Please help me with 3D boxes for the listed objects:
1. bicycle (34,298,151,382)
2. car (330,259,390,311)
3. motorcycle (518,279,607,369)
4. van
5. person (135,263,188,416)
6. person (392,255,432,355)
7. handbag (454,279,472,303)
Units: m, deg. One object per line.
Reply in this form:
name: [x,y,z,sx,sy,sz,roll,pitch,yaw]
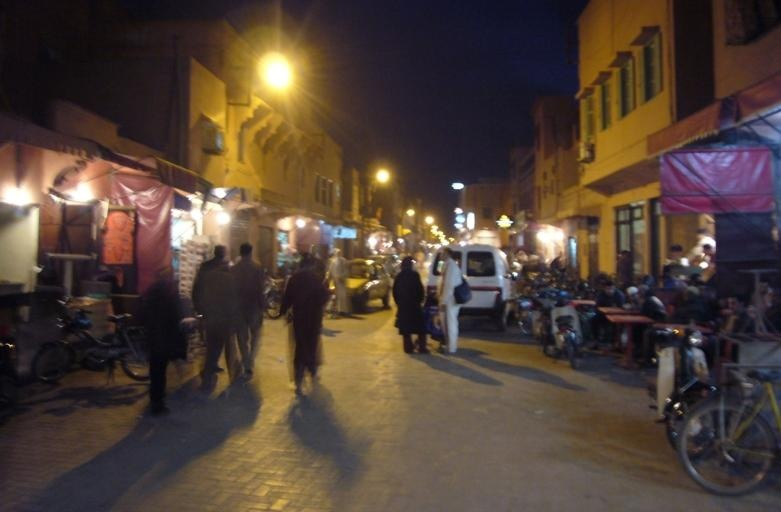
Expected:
bicycle: [-6.057,1.772,13.635,1.171,1.610,2.514,-6,-9,37]
car: [-1.047,0.752,24.240,1.316,1.405,2.952,3,19,21]
motorcycle: [4.289,1.606,16.177,1.006,1.303,2.248,-2,-1,-2]
van: [2.576,0.599,19.163,1.561,1.576,2.854,1,5,10]
person: [-4.108,1.527,12.042,0.732,2.434,1.075,-5,14,-22]
person: [0.490,1.159,15.917,0.816,2.158,1.103,-1,13,-7]
handbag: [1.695,0.828,15.761,0.237,0.601,0.625,-9,-6,42]
